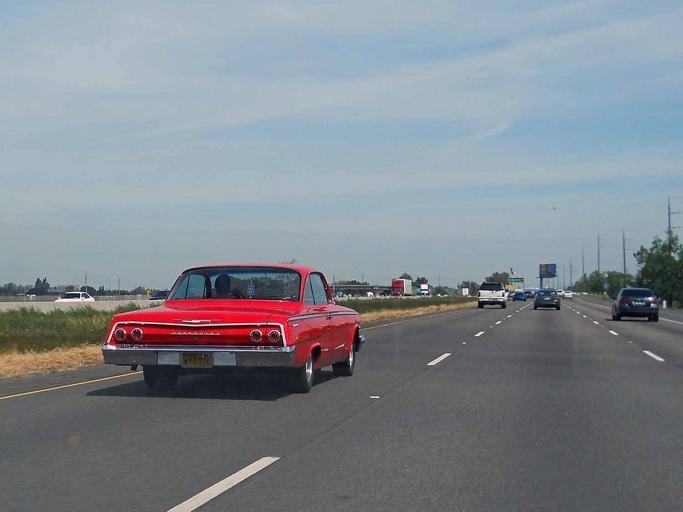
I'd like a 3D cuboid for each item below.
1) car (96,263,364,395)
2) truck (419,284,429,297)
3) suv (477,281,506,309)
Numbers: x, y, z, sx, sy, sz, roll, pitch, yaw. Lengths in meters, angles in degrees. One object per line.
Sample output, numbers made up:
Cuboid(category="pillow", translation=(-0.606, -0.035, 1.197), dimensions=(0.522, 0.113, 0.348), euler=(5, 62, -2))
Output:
Cuboid(category="car", translation=(-1.722, 1.246, 12.239), dimensions=(2.895, 2.083, 3.561), euler=(-2, -2, 19))
Cuboid(category="truck", translation=(24.480, 11.642, 215.754), dimensions=(3.290, 3.479, 5.853), euler=(2, 6, 9))
Cuboid(category="suv", translation=(14.082, 3.782, 67.044), dimensions=(1.995, 1.863, 4.357), euler=(1, 3, 17))
